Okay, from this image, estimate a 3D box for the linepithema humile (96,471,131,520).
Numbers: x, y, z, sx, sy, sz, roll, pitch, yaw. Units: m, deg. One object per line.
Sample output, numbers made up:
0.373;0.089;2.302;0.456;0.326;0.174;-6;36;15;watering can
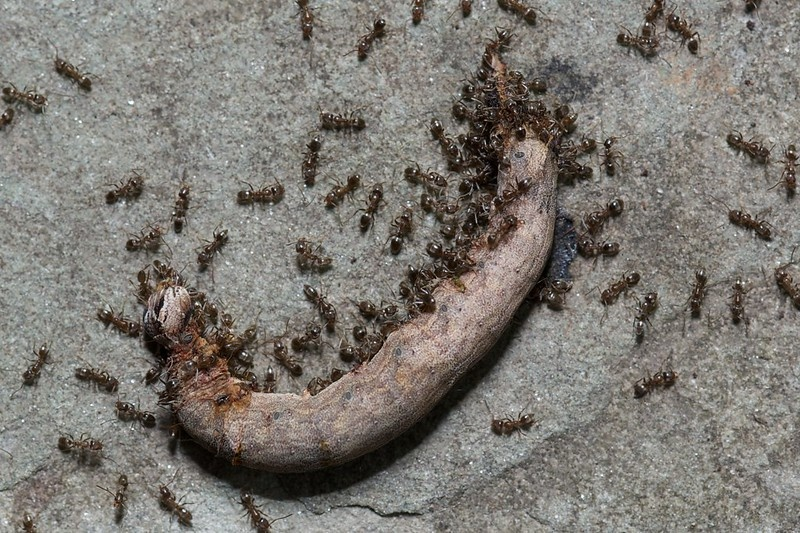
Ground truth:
-1.856;1.525;6.159;0.204;0.120;0.277;-30;78;-15;linepithema humile
